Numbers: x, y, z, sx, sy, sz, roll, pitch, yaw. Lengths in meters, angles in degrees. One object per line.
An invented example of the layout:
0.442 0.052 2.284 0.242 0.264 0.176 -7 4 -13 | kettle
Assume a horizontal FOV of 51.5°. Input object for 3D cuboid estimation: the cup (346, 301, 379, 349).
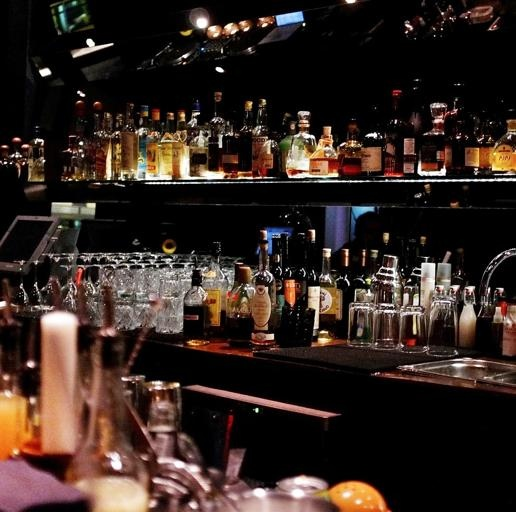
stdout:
0.459 0.312 2.400 0.156 0.306 0.158 1 -2 0 | cup
